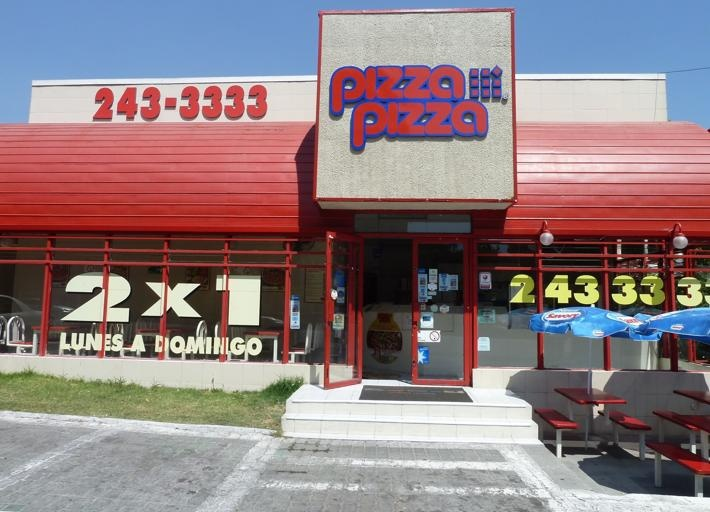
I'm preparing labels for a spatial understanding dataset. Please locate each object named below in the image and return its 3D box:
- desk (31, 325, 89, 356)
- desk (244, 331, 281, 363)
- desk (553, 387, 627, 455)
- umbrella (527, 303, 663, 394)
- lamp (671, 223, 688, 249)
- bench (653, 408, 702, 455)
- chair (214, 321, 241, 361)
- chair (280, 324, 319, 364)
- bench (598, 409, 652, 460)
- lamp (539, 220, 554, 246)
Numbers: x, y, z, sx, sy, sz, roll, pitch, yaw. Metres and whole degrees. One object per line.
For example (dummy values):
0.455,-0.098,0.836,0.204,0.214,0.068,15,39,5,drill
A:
-7.193,1.963,16.253,1.472,0.726,0.710,0,-3,-3,desk
-2.060,2.136,15.547,0.814,0.647,0.781,4,-7,-35,desk
4.620,3.293,13.664,0.744,0.780,1.621,7,-16,44,desk
4.696,1.691,13.466,2.570,1.373,2.482,5,7,40,umbrella
7.272,-0.404,14.740,0.350,0.633,0.531,9,13,26,lamp
6.491,3.547,13.241,0.376,0.481,1.179,1,-2,-9,bench
-3.049,2.014,15.604,0.668,0.880,0.310,5,12,7,chair
-1.378,2.079,15.688,1.073,1.123,0.838,1,-3,4,chair
5.518,3.567,13.609,0.939,0.911,1.671,8,12,21,bench
4.317,-0.515,14.843,0.310,0.559,0.319,6,12,12,lamp
